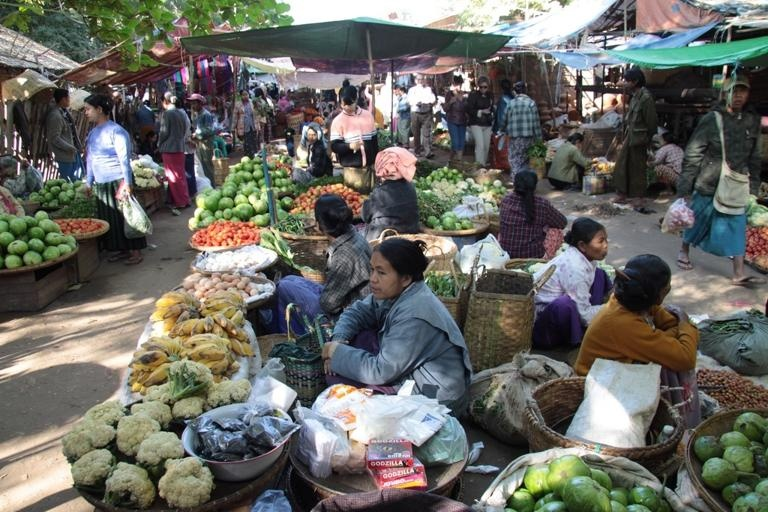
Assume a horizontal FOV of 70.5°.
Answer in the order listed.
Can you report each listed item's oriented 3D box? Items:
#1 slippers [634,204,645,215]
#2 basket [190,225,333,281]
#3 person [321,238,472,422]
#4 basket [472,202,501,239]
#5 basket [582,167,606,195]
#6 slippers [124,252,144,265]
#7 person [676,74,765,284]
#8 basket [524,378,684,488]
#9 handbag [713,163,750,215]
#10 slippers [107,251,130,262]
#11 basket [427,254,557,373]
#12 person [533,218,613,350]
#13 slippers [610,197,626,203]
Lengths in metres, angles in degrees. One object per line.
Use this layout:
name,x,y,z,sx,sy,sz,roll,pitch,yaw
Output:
slippers,4.500,-0.835,9.576,0.122,0.126,0.150,1,2,15
basket,-1.707,-0.093,6.444,0.938,0.361,1.004,-1,8,-15
person,0.051,0.564,4.055,1.003,1.338,0.632,3,19,27
basket,1.482,-0.508,7.788,0.375,0.198,0.482,-1,13,2
basket,4.145,-1.485,11.067,0.465,0.508,0.457,-2,9,-2
slippers,-3.628,0.036,7.917,0.134,0.114,0.276,0,6,-2
person,4.016,-0.881,6.672,0.882,2.535,0.860,5,10,33
basket,1.518,1.263,3.774,0.947,0.641,0.796,3,18,26
handbag,4.049,-0.793,6.360,0.348,0.622,0.175,3,19,27
slippers,-3.936,0.015,8.163,0.154,0.144,0.375,3,-1,17
basket,0.965,0.649,5.251,1.497,1.487,0.921,0,12,2
person,1.753,0.289,5.114,0.716,1.089,0.877,6,33,13
slippers,4.300,-1.036,10.013,0.222,0.085,0.102,8,16,23
